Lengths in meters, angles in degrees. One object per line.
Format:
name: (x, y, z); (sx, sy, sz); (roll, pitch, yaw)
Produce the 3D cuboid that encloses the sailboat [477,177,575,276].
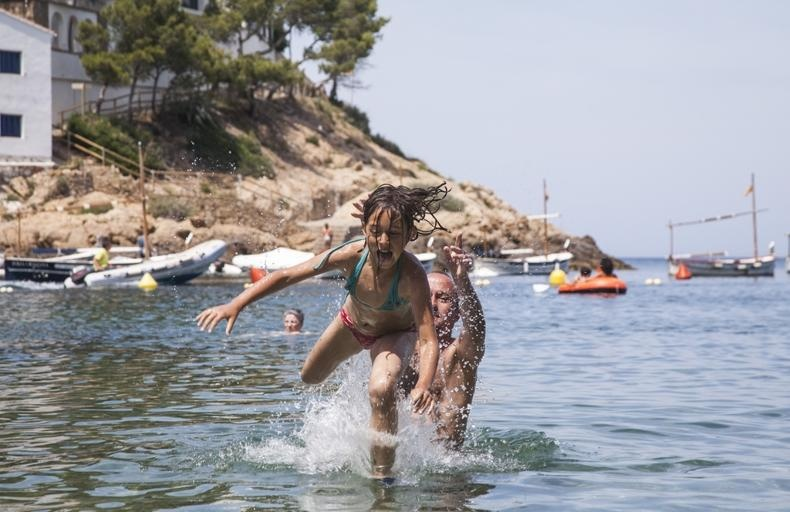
sailboat: (7.626, -1.046, 77.850); (5.934, 4.605, 2.504); (-2, 1, 7)
